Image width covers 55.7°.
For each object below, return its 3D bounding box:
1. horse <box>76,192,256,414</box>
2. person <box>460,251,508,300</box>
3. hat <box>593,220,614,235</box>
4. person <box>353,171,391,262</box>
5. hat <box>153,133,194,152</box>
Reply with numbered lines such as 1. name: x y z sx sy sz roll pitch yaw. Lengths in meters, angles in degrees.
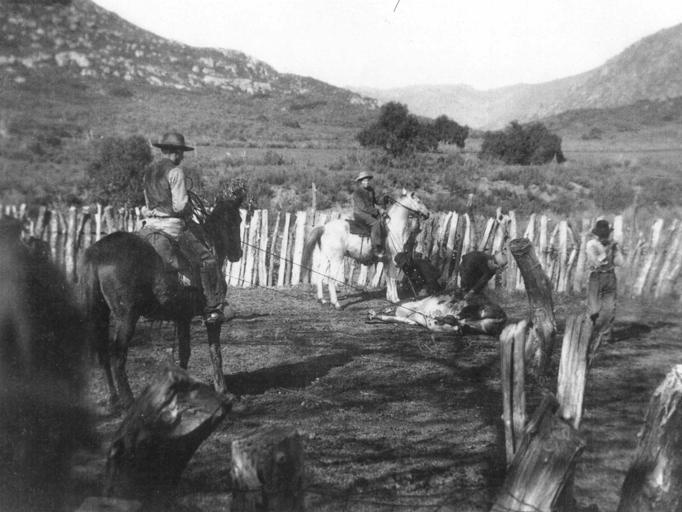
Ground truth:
1. horse: -2.711 0.646 10.316 0.993 3.172 3.595 0 5 30
2. person: 2.787 0.319 13.121 0.514 0.793 1.634 11 -8 -15
3. hat: 4.979 -0.540 12.298 0.419 0.191 0.503 -3 13 19
4. person: 0.673 -0.931 15.160 0.798 1.972 1.069 3 12 -3
5. hat: -2.554 -1.766 9.925 0.538 0.284 0.714 2 13 -12
